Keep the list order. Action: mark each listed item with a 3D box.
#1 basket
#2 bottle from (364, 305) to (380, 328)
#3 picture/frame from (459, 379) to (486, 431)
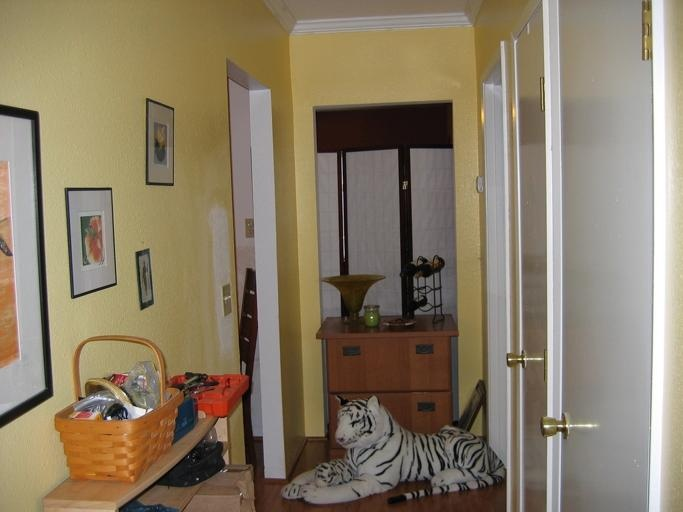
[{"bbox_3d":[-0.550,0.412,1.591,0.238,0.423,0.364,-1,-2,9],"label":"basket"},{"bbox_3d":[0.197,0.411,3.860,0.109,0.141,0.122,2,-1,-7],"label":"bottle"},{"bbox_3d":[0.903,1.023,3.910,0.034,0.396,0.375,24,8,3],"label":"picture/frame"}]
